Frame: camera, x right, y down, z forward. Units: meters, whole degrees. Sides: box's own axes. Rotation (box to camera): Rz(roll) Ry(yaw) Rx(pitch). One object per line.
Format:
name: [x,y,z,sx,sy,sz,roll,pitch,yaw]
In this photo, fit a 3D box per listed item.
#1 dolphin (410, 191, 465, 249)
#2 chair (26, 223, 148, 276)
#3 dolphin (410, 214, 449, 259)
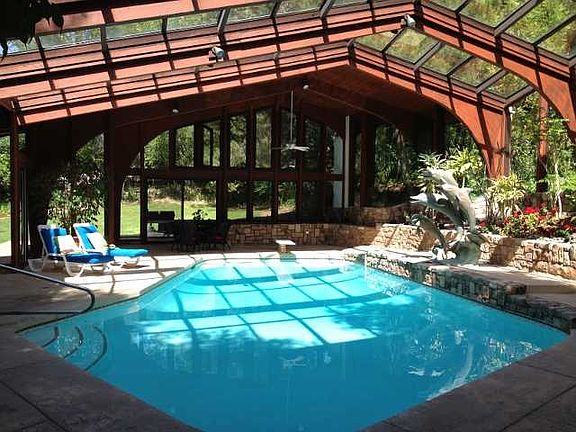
dolphin: [4.097,0.083,11.450,1.014,1.623,1.227,1,2,-44]
chair: [-4.863,0.803,10.572,1.584,0.878,1.794,2,3,15]
dolphin: [3.776,0.470,11.640,0.887,1.269,0.822,2,1,9]
